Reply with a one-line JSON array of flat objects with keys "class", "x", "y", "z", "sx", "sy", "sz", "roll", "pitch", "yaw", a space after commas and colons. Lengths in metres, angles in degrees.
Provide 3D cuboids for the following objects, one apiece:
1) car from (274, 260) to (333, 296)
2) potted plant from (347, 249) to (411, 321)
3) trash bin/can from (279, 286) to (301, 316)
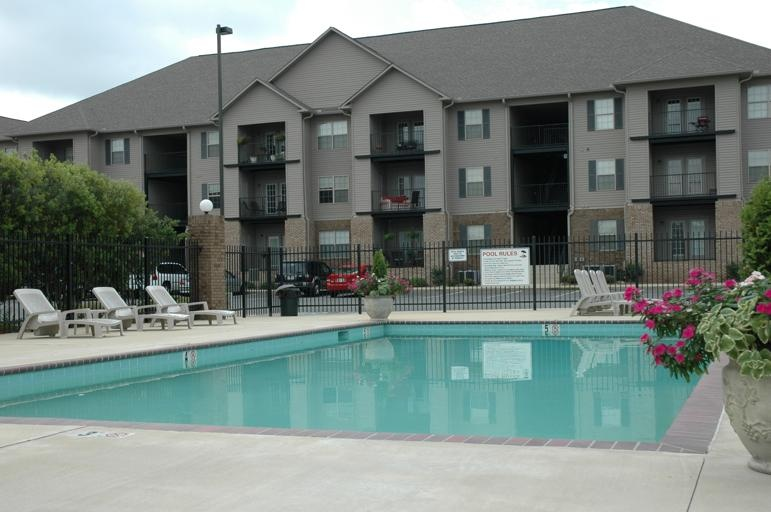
[{"class": "car", "x": -3.766, "y": 0.936, "z": 36.552, "sx": 1.515, "sy": 1.089, "sz": 2.725, "roll": 0, "pitch": 4, "yaw": 16}, {"class": "potted plant", "x": -0.307, "y": 0.883, "z": 24.223, "sx": 1.802, "sy": 2.084, "sz": 1.702, "roll": -8, "pitch": -8, "yaw": 37}, {"class": "trash bin/can", "x": -3.119, "y": 1.469, "z": 25.872, "sx": 0.823, "sy": 0.924, "sz": 0.798, "roll": 1, "pitch": -8, "yaw": -10}]
